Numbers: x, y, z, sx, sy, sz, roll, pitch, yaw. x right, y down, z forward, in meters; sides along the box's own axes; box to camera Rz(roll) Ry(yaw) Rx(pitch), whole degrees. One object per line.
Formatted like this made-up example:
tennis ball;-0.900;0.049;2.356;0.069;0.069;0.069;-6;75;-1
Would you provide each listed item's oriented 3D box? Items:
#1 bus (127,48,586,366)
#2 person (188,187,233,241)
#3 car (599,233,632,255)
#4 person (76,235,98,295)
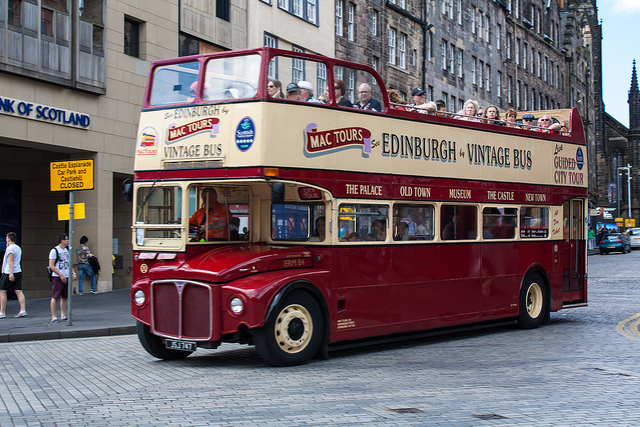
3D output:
bus;1.965;-0.160;15.431;11.504;5.713;3.576;-1;-1;-41
person;-2.115;0.216;12.299;0.852;1.398;0.744;5;-9;-24
car;25.483;2.590;56.828;1.480;1.301;3.201;-1;2;27
person;-8.676;1.930;24.242;0.624;2.074;1.053;-1;-3;-6
